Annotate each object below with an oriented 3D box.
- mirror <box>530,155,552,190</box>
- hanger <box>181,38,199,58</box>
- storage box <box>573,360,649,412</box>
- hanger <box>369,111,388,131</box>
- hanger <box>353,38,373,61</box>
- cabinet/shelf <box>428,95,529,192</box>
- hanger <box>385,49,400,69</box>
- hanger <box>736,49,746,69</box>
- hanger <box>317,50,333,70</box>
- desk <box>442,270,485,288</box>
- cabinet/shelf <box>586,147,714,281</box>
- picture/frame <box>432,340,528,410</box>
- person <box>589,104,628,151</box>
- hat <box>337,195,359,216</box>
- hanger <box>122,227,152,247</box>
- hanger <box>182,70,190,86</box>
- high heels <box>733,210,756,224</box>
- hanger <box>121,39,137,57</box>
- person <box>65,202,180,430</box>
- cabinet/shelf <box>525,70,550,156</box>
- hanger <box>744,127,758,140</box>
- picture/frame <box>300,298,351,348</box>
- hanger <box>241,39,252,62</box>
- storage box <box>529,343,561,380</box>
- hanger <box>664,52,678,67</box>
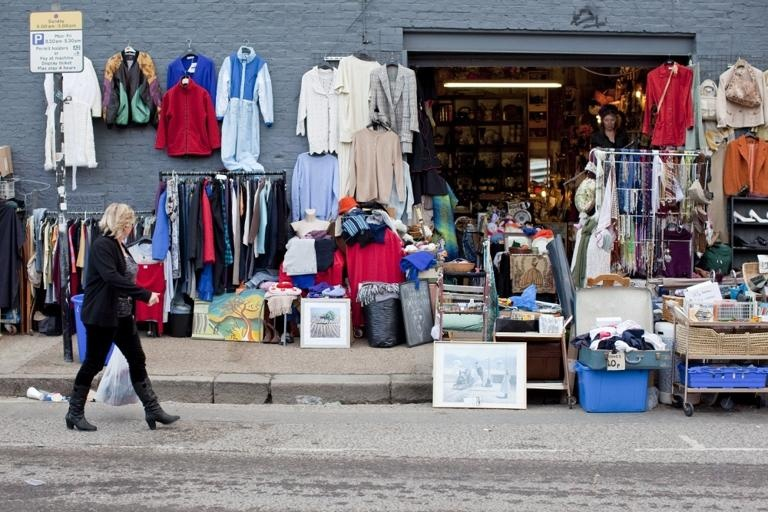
[{"bbox_3d":[3.207,-1.744,23.060,0.414,0.741,0.567,0,0,4],"label":"mirror"},{"bbox_3d":[-3.165,-3.381,18.192,0.230,0.289,0.177,-1,5,-8],"label":"hanger"},{"bbox_3d":[3.069,1.759,15.475,1.008,0.594,0.976,0,3,1],"label":"storage box"},{"bbox_3d":[-0.090,-2.186,18.133,0.323,0.545,0.076,1,13,9],"label":"hanger"},{"bbox_3d":[-0.358,-3.373,18.268,0.391,0.406,0.045,2,6,1],"label":"hanger"},{"bbox_3d":[1.999,-2.307,22.971,1.903,2.073,0.773,0,5,3],"label":"cabinet/shelf"},{"bbox_3d":[0.140,-3.199,18.231,0.236,0.280,0.181,-1,5,-1],"label":"hanger"},{"bbox_3d":[5.903,-3.207,18.437,0.172,0.220,0.115,5,-11,17],"label":"hanger"},{"bbox_3d":[-0.966,-3.183,18.247,0.235,0.262,0.102,-1,5,-3],"label":"hanger"},{"bbox_3d":[1.265,0.349,17.858,0.616,0.328,1.479,0,5,3],"label":"desk"},{"bbox_3d":[4.215,-0.685,17.972,1.946,2.040,0.612,0,5,5],"label":"cabinet/shelf"},{"bbox_3d":[1.293,1.600,15.126,1.231,0.901,0.123,0,5,3],"label":"picture/frame"},{"bbox_3d":[3.920,-2.243,19.380,0.592,0.765,0.999,1,5,16],"label":"person"},{"bbox_3d":[-0.581,-0.822,17.915,0.317,0.298,0.566,-1,5,-2],"label":"hat"},{"bbox_3d":[-3.786,-0.295,17.101,0.545,0.077,0.260,0,27,17],"label":"hanger"},{"bbox_3d":[-3.213,-2.851,18.029,0.136,0.223,0.128,-2,5,-21],"label":"hanger"},{"bbox_3d":[5.985,-0.659,18.550,0.399,0.210,0.183,0,5,3],"label":"high heels"},{"bbox_3d":[-4.180,-3.382,18.206,0.349,0.387,0.044,-1,-33,-11],"label":"hanger"},{"bbox_3d":[-3.352,0.696,14.822,1.575,3.136,1.188,-1,-2,10],"label":"person"},{"bbox_3d":[3.195,-2.746,23.310,0.454,1.986,0.391,-1,3,-5],"label":"cabinet/shelf"},{"bbox_3d":[6.070,-2.029,18.494,0.227,0.187,0.228,1,5,17],"label":"hanger"},{"bbox_3d":[-0.893,1.000,16.955,0.736,0.750,0.175,-1,5,-4],"label":"picture/frame"},{"bbox_3d":[-2.258,-3.329,18.178,0.206,0.341,0.211,-1,5,-7],"label":"hanger"},{"bbox_3d":[2.210,1.426,15.343,0.492,0.363,0.492,-1,1,15],"label":"storage box"},{"bbox_3d":[4.787,-3.237,18.651,0.200,0.214,0.492,1,5,13],"label":"hanger"}]
